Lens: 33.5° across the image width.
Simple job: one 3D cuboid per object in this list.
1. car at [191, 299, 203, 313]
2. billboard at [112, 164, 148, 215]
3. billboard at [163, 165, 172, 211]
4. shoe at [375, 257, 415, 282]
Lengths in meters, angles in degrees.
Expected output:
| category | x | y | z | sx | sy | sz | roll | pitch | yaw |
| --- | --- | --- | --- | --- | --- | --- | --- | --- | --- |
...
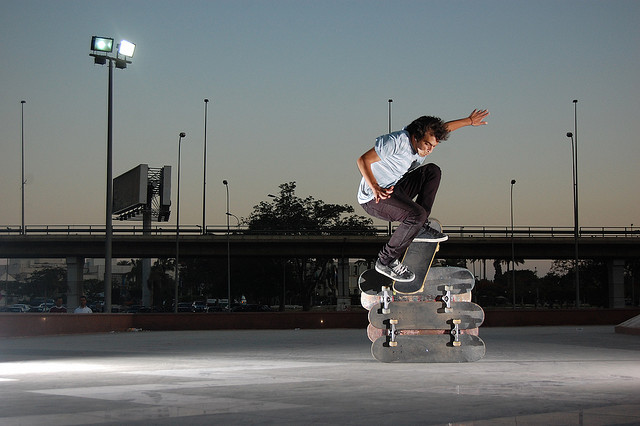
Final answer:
| category | x | y | z | sx | sy | sz | roll | pitch | yaw |
| --- | --- | --- | --- | --- | --- | --- | --- | --- | --- |
| car | -12.110 | 9.180 | 105.448 | 1.984 | 0.915 | 2.608 | -1 | 3 | -9 |
| billboard | -14.706 | -1.824 | 82.939 | 0.764 | 2.952 | 7.415 | 1 | -5 | -25 |
| billboard | -11.883 | -1.964 | 82.612 | 0.526 | 3.163 | 1.948 | 1 | -4 | -9 |
| shoe | 2.302 | 1.697 | 31.480 | 1.401 | 0.473 | 0.556 | 16 | -35 | 10 |
